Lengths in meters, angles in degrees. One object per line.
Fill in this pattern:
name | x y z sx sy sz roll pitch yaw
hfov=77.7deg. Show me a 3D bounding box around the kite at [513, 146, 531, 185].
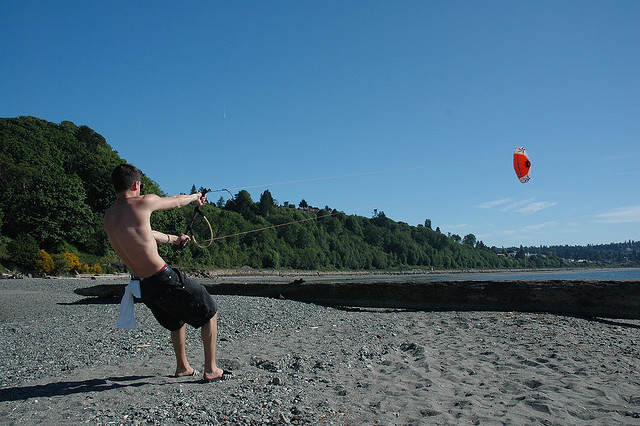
kite | 6.958 -1.658 13.668 0.450 1.232 0.769 -7 -6 26
